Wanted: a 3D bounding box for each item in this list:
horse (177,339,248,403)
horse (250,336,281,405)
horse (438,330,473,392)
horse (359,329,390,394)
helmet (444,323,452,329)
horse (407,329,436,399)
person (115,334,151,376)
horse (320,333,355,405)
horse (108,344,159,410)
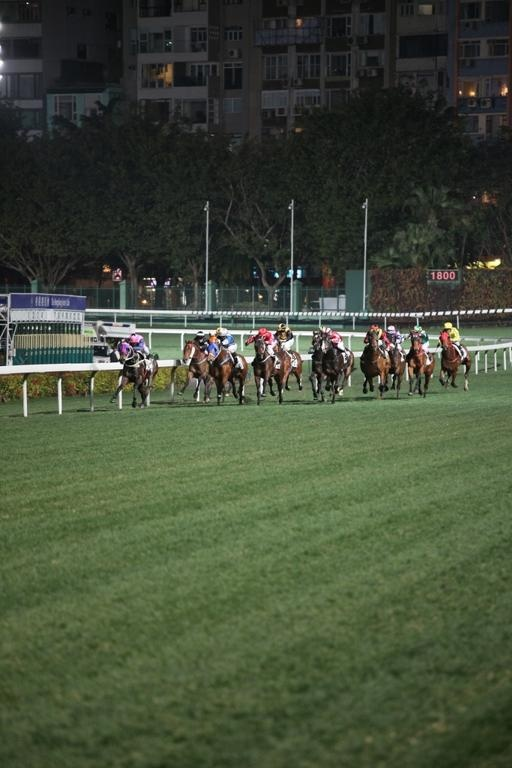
[{"bbox_3d":[-0.679,-0.267,16.901,0.630,1.099,1.906,1,-6,15],"label":"horse"},{"bbox_3d":[0.167,-0.248,16.645,0.380,1.136,1.682,5,-2,14],"label":"horse"},{"bbox_3d":[4.169,-0.439,19.672,0.438,1.216,1.696,4,1,30],"label":"horse"},{"bbox_3d":[2.220,-0.354,17.668,0.570,1.259,1.955,-3,-6,7],"label":"horse"},{"bbox_3d":[4.025,-1.247,19.590,0.133,0.135,0.220,-3,-6,8],"label":"helmet"},{"bbox_3d":[3.299,-0.353,18.870,0.436,1.257,1.750,5,-5,21],"label":"horse"},{"bbox_3d":[-2.059,-0.541,15.911,0.520,0.616,1.194,0,3,-7],"label":"person"},{"bbox_3d":[1.482,-0.359,17.349,0.380,1.281,2.013,2,4,20],"label":"horse"},{"bbox_3d":[-2.030,-0.143,15.836,0.351,1.065,1.620,8,0,15],"label":"horse"}]
